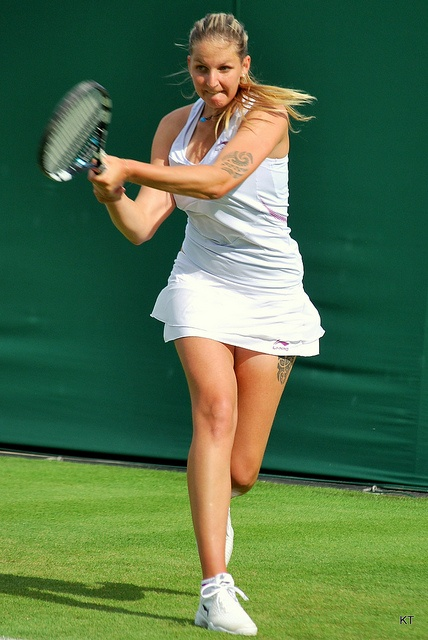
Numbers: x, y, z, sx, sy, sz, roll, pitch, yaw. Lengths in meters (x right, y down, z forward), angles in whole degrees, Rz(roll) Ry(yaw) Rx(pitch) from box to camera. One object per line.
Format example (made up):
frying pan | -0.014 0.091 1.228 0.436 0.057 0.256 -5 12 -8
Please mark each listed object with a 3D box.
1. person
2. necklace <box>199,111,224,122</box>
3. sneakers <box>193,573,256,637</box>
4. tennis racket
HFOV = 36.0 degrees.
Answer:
person | 0.005 -0.025 1.702 0.541 1.458 0.769 2 -7 8
necklace | -0.010 -0.548 1.774 0.014 0.025 0.079 14 -3 -42
sneakers | 0.024 0.596 1.389 0.083 0.093 0.167 8 -9 -38
tennis racket | -0.307 -0.424 1.466 0.110 0.215 0.141 1 -7 15
